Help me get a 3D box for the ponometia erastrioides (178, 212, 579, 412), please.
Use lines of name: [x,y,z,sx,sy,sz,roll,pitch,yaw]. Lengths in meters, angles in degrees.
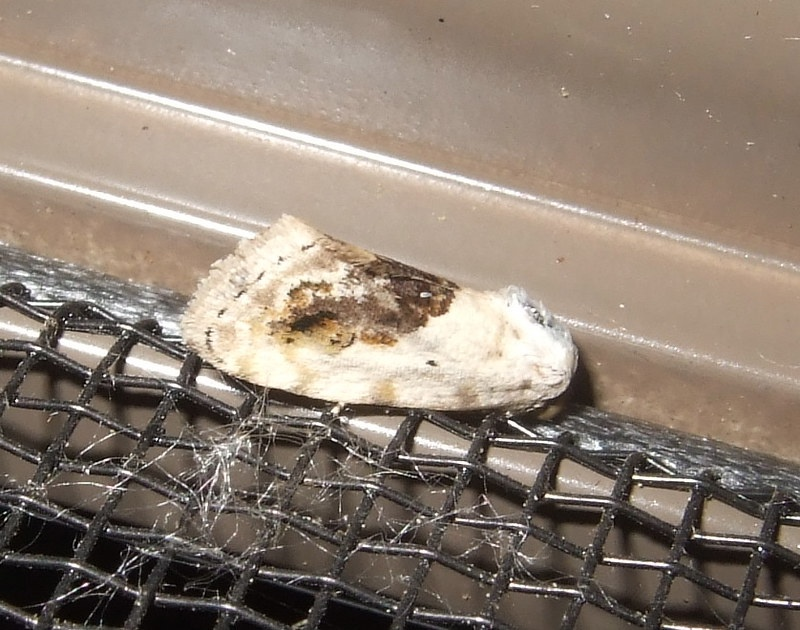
ponometia erastrioides: [-0.020,0.013,1.207,0.401,0.133,0.166,14,49,-26]
